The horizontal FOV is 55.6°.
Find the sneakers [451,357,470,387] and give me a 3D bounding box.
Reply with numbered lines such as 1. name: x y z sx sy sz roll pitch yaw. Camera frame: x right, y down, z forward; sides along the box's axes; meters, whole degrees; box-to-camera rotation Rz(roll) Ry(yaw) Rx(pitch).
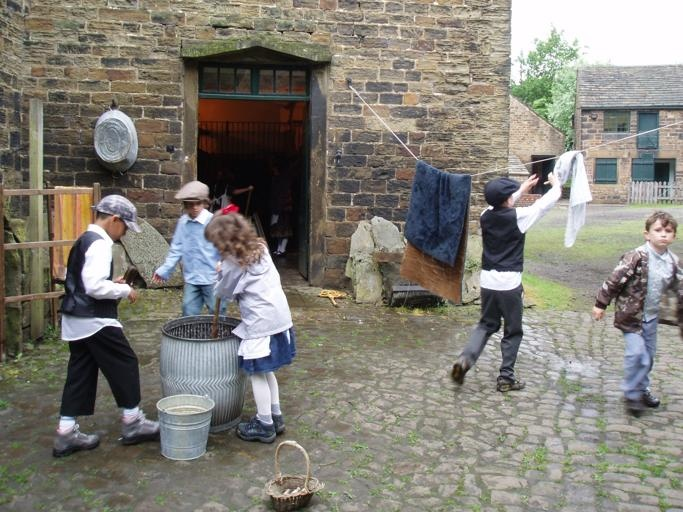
1. sneakers: 1.199 1.166 6.644 0.138 0.330 0.154 17 15 20

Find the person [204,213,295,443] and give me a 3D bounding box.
1. person: -0.756 0.608 5.410 0.723 1.916 0.414 1 15 -5

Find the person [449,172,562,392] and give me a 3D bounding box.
1. person: 1.680 0.262 6.636 0.838 2.181 0.855 7 15 17

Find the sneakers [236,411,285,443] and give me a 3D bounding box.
1. sneakers: -0.689 1.472 5.558 0.399 0.171 0.191 4 6 3

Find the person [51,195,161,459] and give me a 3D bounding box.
1. person: -1.977 0.550 5.310 0.822 2.023 0.600 -3 16 -18

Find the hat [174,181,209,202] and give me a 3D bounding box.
1. hat: -1.496 -0.646 6.529 0.295 0.193 0.411 0 14 -9

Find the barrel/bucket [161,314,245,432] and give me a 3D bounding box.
1. barrel/bucket: -1.152 1.017 5.876 0.987 0.906 0.959 1 1 0

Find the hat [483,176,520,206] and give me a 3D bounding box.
1. hat: 1.598 -0.626 6.461 0.327 0.294 0.194 3 14 5

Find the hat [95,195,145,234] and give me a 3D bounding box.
1. hat: -1.831 -0.377 5.395 0.399 0.196 0.267 27 3 -24

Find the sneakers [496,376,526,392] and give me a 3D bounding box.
1. sneakers: 1.730 1.296 6.621 0.275 0.105 0.131 -4 9 -21

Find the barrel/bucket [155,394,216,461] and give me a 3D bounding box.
1. barrel/bucket: -1.263 1.395 5.324 0.527 0.367 0.474 7 4 23
